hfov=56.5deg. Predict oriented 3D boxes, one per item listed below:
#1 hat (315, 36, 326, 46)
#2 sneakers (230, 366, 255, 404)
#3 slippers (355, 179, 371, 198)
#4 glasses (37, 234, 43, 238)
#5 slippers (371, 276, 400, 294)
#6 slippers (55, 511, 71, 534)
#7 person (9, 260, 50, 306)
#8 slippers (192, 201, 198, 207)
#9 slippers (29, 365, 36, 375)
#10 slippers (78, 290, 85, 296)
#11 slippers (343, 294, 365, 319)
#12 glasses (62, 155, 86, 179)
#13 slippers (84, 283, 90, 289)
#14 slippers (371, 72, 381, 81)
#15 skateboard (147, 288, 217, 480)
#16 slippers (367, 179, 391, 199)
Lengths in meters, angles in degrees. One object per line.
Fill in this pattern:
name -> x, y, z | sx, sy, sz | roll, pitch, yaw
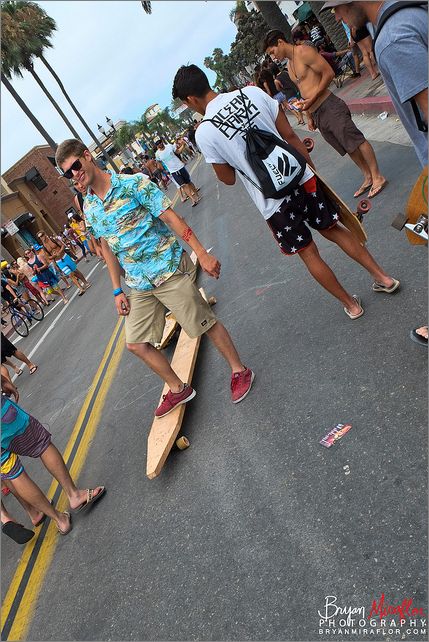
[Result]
hat -> 4.126, -10.915, 15.501 | 0.357, 0.207, 0.721 | 17, 52, 24
sneakers -> 0.216, 0.520, 3.205 | 0.128, 0.154, 0.339 | -23, 31, 41
slippers -> 1.878, -1.682, 5.069 | 0.272, 0.106, 0.083 | -25, 17, 14
glasses -> -5.629, -2.783, 12.825 | 0.150, 0.188, 0.195 | -5, -8, -8
slippers -> 1.334, -0.274, 3.089 | 0.205, 0.090, 0.082 | 8, 58, 47
slippers -> -1.222, 1.660, 3.201 | 0.090, 0.061, 0.229 | -25, 35, -1
person -> -6.567, -1.377, 14.094 | 0.590, 1.810, 0.499 | -33, 58, 3
slippers -> -0.609, -3.585, 12.096 | 0.187, 0.237, 0.562 | -4, 11, -2
slippers -> -3.751, 1.013, 8.224 | 0.084, 0.081, 0.210 | -26, 27, 18
slippers -> -4.332, -0.914, 12.857 | 0.313, 0.206, 0.102 | 11, 18, 34
slippers -> 1.092, -0.124, 3.139 | 0.096, 0.067, 0.221 | -38, 27, 26
glasses -> -0.979, -1.082, 2.864 | 0.163, 0.052, 0.163 | -17, 35, 35
slippers -> -4.277, -1.200, 13.373 | 0.123, 0.132, 0.124 | -3, 6, 0
slippers -> 4.156, -6.345, 10.256 | 0.148, 0.164, 0.430 | -11, 49, 17
skateboard -> -0.289, 0.468, 3.585 | 0.315, 0.209, 1.954 | -25, 39, 33
slippers -> 1.935, -1.559, 4.817 | 0.347, 0.134, 0.124 | -45, 17, 0
